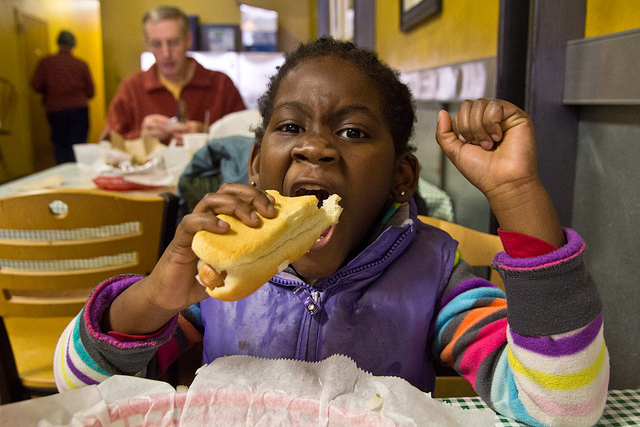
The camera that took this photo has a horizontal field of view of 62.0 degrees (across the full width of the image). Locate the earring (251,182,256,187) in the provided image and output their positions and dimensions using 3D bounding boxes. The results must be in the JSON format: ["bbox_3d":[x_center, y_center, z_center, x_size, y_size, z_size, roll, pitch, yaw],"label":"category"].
[{"bbox_3d":[-0.221,-0.098,1.778,0.010,0.013,0.014,4,-4,18],"label":"earring"}]

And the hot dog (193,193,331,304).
[{"bbox_3d":[-0.130,0.097,1.385,0.191,0.132,0.348,19,44,35],"label":"hot dog"}]

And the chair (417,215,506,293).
[{"bbox_3d":[0.558,0.199,2.144,0.325,0.415,0.305,2,-8,3],"label":"chair"}]

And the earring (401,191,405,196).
[{"bbox_3d":[0.265,-0.065,1.704,0.011,0.011,0.005,-6,13,-26],"label":"earring"}]

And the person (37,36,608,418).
[{"bbox_3d":[0.066,0.079,1.590,1.421,1.225,0.626,-1,12,-1],"label":"person"}]

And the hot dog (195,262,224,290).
[{"bbox_3d":[-0.271,0.149,1.304,0.037,0.054,0.069,-35,-31,12],"label":"hot dog"}]
